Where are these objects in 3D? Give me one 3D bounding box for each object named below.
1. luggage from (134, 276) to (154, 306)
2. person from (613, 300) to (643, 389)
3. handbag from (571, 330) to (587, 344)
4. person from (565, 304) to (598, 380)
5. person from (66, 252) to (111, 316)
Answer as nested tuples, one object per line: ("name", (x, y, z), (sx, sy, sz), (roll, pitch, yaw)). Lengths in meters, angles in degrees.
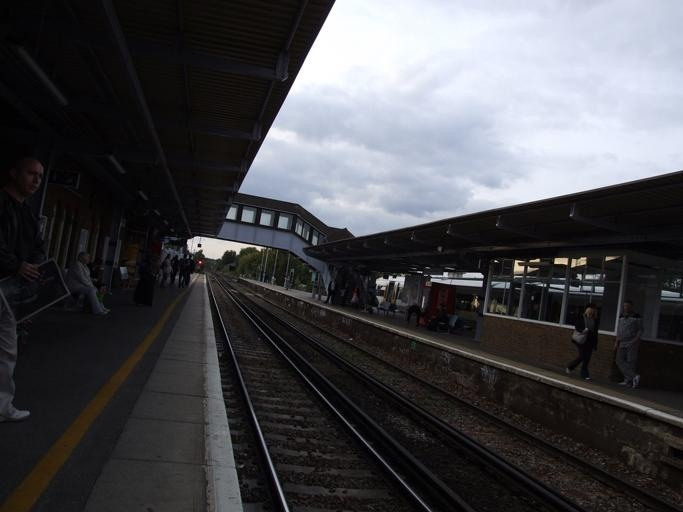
("luggage", (-7.017, 0.801, 14.646), (0.569, 1.149, 0.538), (8, -4, -27))
("person", (7.074, 1.980, 10.166), (0.498, 2.275, 0.615), (4, -4, 35))
("handbag", (6.054, 1.863, 10.493), (0.182, 0.375, 0.348), (9, -4, -40))
("person", (6.253, 1.977, 10.648), (0.691, 2.058, 0.501), (9, -4, -32))
("person", (-6.571, 0.366, 10.547), (0.851, 1.874, 0.499), (8, -4, -26))
